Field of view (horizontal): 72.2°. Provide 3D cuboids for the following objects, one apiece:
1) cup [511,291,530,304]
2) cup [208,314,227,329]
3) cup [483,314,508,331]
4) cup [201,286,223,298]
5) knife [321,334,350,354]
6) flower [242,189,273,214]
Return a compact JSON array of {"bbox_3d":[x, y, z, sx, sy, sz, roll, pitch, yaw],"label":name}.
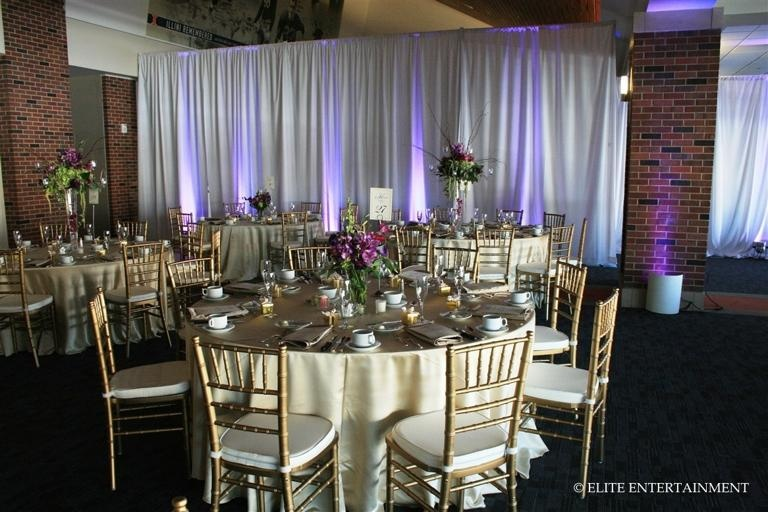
[{"bbox_3d":[1.146,0.351,4.417,0.120,0.086,0.093,2,6,0],"label":"cup"},{"bbox_3d":[-1.249,0.495,3.964,0.091,0.086,0.120,14,20,36],"label":"cup"},{"bbox_3d":[0.830,0.503,3.943,0.146,0.081,0.112,2,1,-3],"label":"cup"},{"bbox_3d":[-1.472,0.325,4.581,0.105,0.083,0.169,-2,-6,-3],"label":"cup"},{"bbox_3d":[-0.346,0.634,3.729,0.070,0.026,0.278,4,9,8],"label":"knife"},{"bbox_3d":[-2.384,-1.032,9.925,0.507,0.540,0.487,6,18,35],"label":"flower"}]
